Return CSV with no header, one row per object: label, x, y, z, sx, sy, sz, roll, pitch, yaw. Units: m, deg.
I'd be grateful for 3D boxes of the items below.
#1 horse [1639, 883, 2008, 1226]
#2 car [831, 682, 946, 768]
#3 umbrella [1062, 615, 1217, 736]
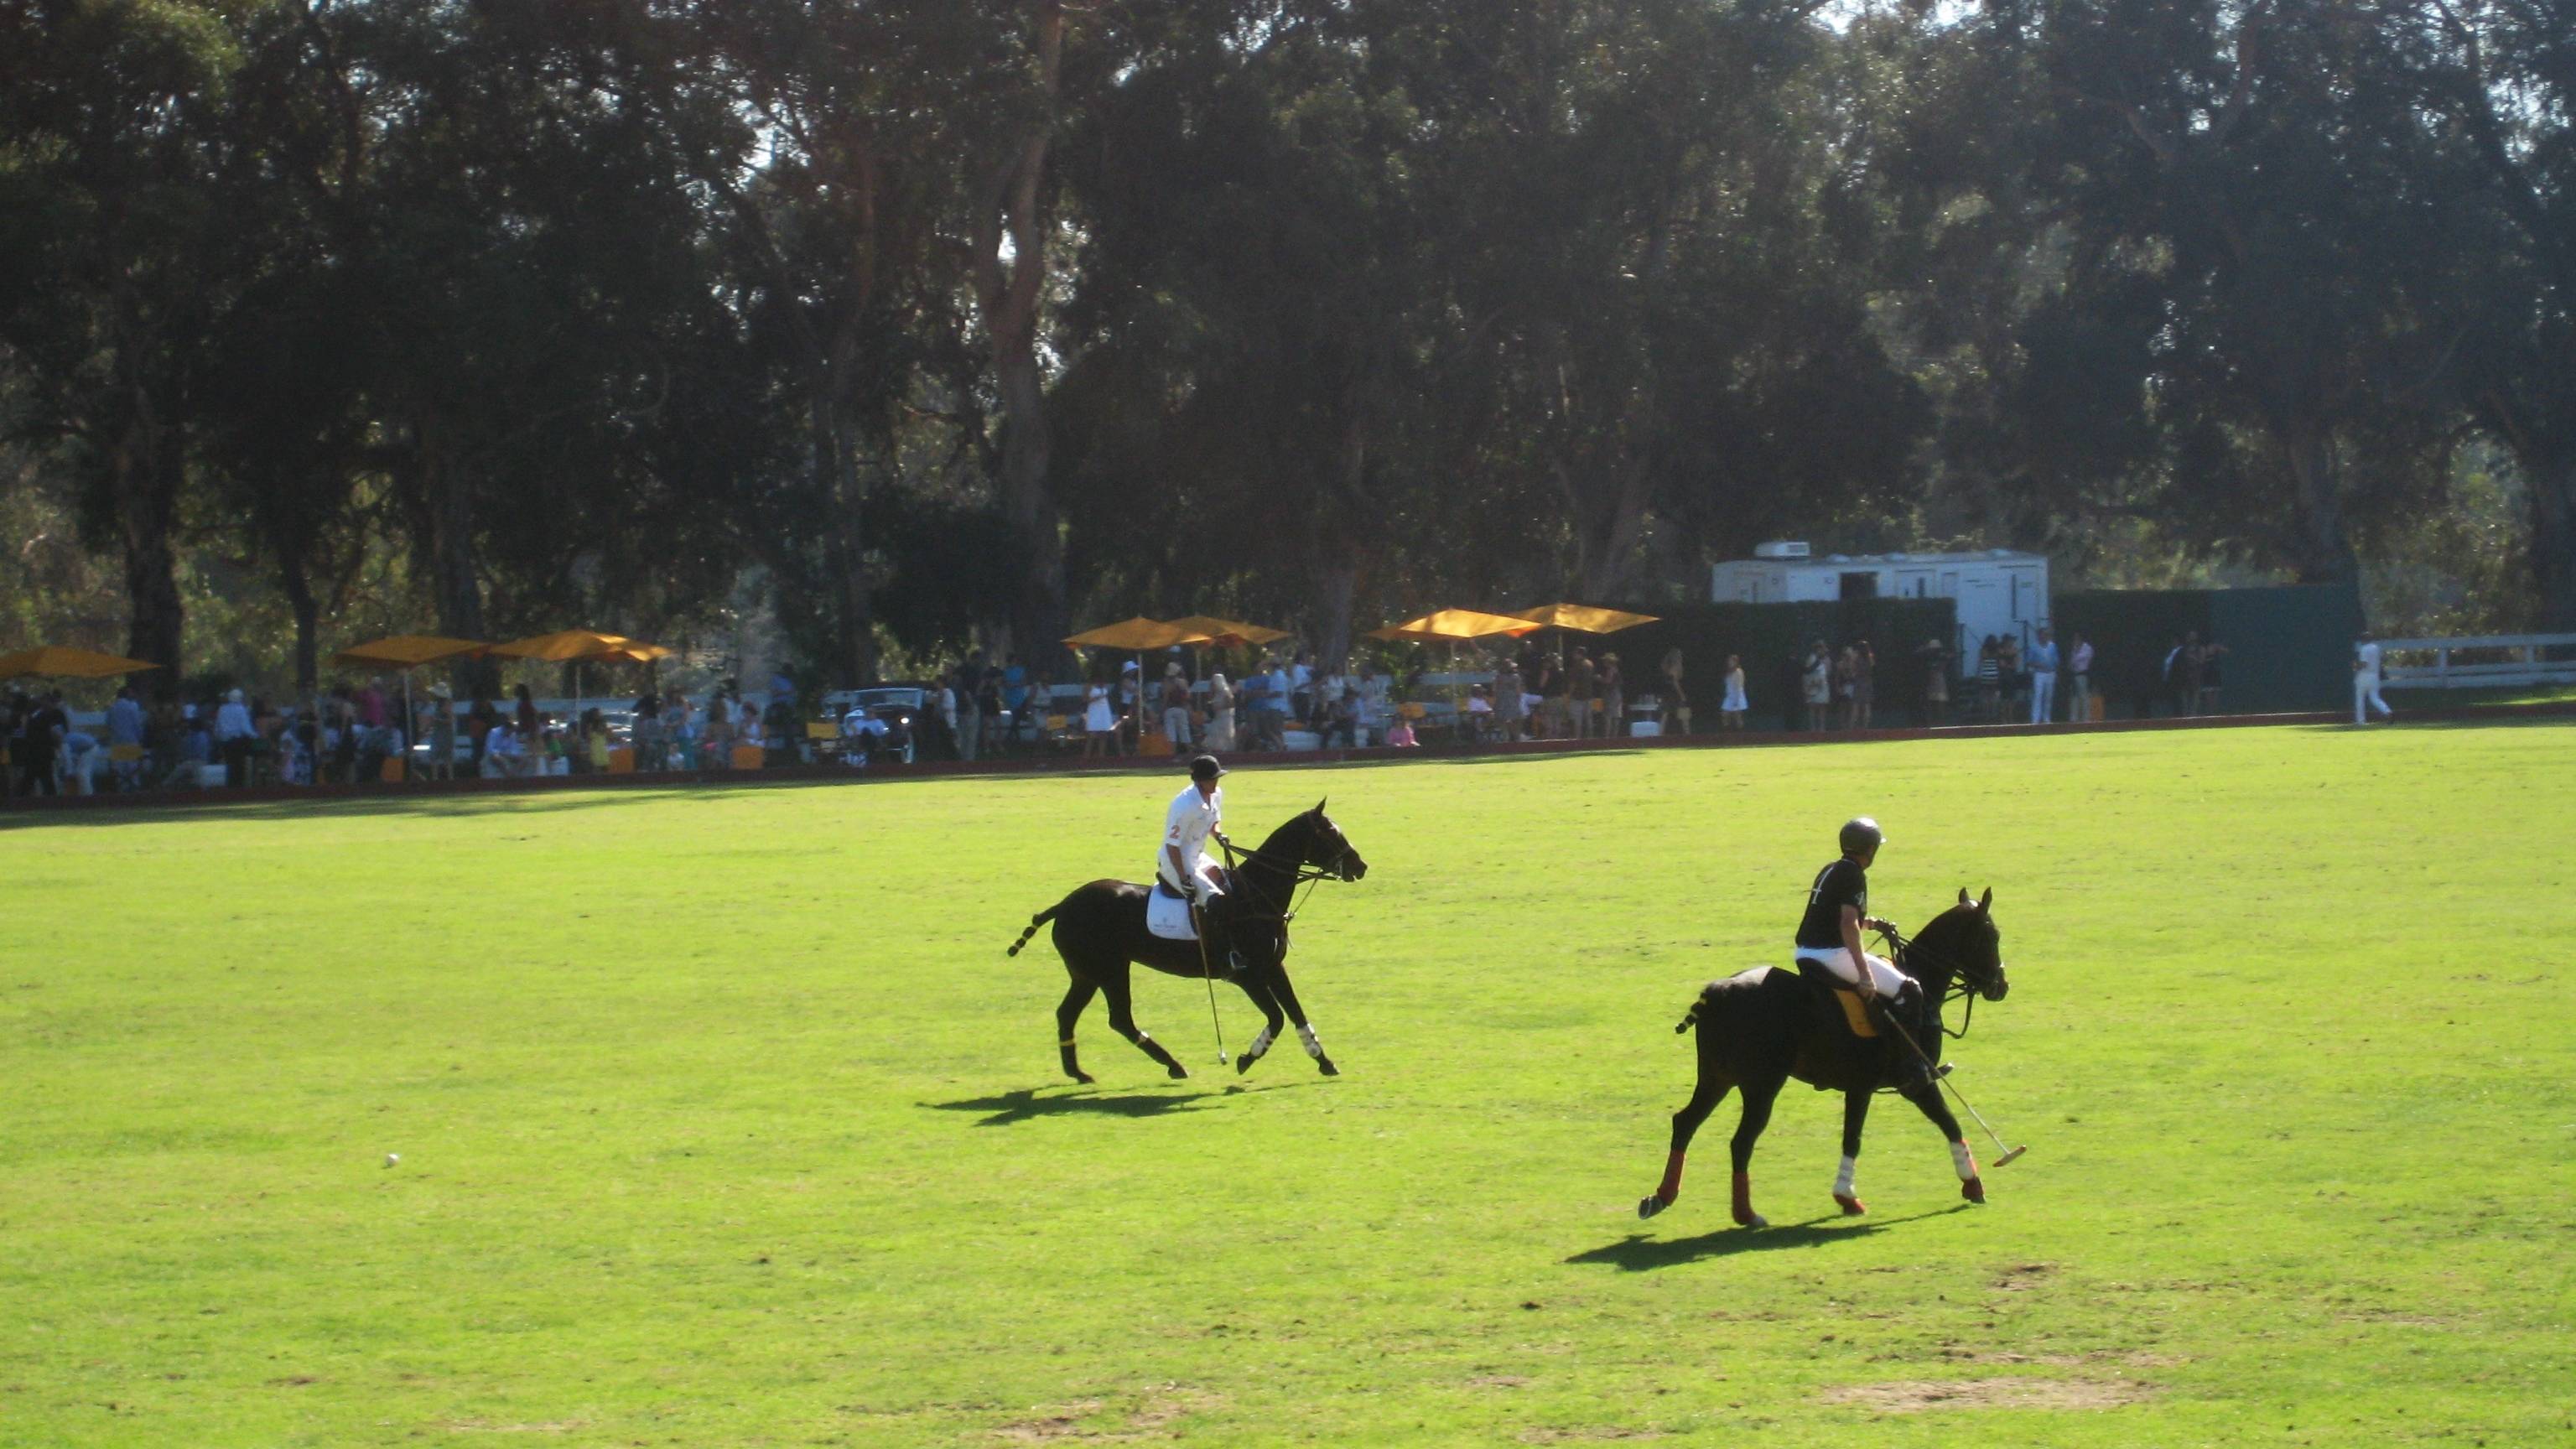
horse,10.011,6.352,75.535,8.471,5.925,2.081,-2,5,-31
car,-11.019,0.133,112.657,2.204,1.305,3.048,-1,-6,8
umbrella,-3.637,-1.175,114.893,4.374,2.300,3.983,3,7,30
